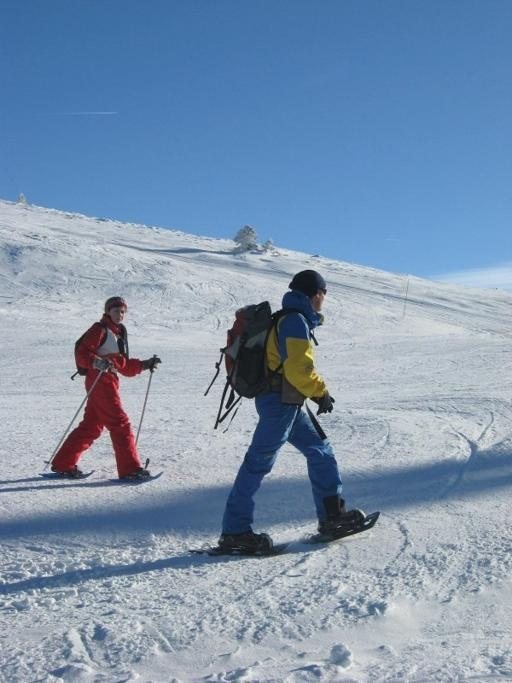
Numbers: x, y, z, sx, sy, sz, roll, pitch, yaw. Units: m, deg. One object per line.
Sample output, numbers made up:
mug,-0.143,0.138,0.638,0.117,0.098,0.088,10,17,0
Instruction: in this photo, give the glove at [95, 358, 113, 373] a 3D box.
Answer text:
glove,-1.066,0.171,5.153,0.106,0.118,0.254,1,3,-7

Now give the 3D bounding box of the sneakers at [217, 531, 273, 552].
sneakers,-0.050,1.083,3.966,0.329,0.125,0.107,3,-2,-4

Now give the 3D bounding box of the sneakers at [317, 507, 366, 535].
sneakers,0.489,0.997,4.085,0.230,0.089,0.129,-13,3,-13

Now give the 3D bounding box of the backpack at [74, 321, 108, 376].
backpack,-1.208,0.047,5.233,0.266,0.343,0.365,3,-1,-43

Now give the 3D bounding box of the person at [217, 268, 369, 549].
person,0.208,0.370,3.994,0.785,1.528,0.456,1,3,1

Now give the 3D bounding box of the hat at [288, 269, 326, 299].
hat,0.306,-0.319,4.074,0.148,0.107,0.206,14,16,31

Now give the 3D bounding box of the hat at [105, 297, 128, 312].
hat,-1.075,-0.280,5.535,0.161,0.119,0.121,7,6,38

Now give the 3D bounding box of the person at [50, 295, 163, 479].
person,-1.026,0.326,5.359,0.640,1.315,0.706,3,3,30

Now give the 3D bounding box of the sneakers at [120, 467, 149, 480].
sneakers,-0.854,0.947,5.231,0.148,0.052,0.105,-6,-10,23

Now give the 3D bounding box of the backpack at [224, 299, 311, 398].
backpack,0.055,0.060,4.173,0.593,0.497,0.464,3,-4,3

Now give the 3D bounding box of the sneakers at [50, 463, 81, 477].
sneakers,-1.354,0.944,5.255,0.223,0.076,0.158,0,3,-16
